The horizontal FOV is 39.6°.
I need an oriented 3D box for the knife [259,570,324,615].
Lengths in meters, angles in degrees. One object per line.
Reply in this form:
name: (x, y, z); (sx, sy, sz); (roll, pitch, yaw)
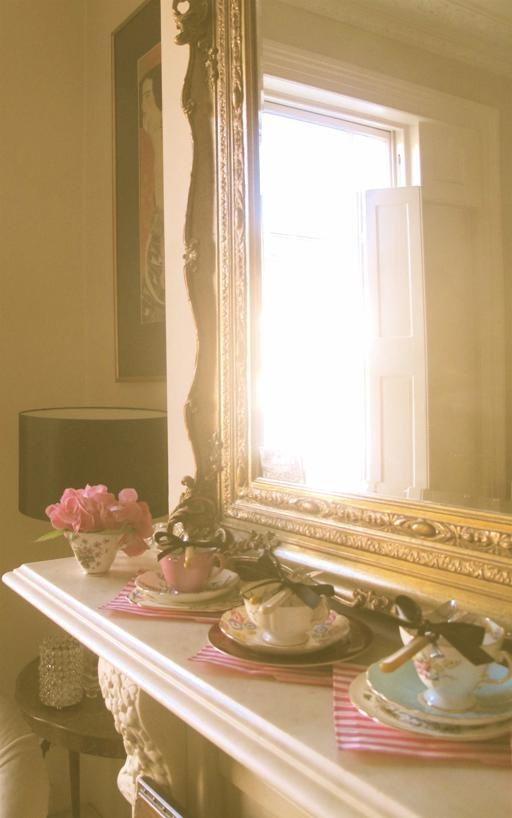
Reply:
knife: (0.054, 0.201, 0.784); (0.032, 0.021, 0.054); (-1, 6, -15)

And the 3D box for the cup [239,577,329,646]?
cup: (0.036, 0.215, 0.773); (0.074, 0.044, 0.072); (2, 9, 0)

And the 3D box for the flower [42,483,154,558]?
flower: (-0.255, 0.183, 1.212); (0.131, 0.073, 0.138); (0, -10, -2)

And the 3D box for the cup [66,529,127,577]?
cup: (-0.271, 0.228, 1.183); (0.086, 0.054, 0.075); (1, -5, -8)

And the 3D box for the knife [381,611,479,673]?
knife: (0.155, 0.183, 0.592); (0.065, 0.054, 0.018); (11, 19, 41)

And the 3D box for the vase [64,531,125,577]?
vase: (-0.260, 0.233, 1.159); (0.085, 0.051, 0.074); (2, -7, -14)

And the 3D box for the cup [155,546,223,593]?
cup: (-0.093, 0.215, 0.987); (0.069, 0.048, 0.063); (1, -2, 0)

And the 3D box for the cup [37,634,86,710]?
cup: (-0.376, 0.509, 1.395); (0.107, 0.162, 0.108); (0, -1, 0)
